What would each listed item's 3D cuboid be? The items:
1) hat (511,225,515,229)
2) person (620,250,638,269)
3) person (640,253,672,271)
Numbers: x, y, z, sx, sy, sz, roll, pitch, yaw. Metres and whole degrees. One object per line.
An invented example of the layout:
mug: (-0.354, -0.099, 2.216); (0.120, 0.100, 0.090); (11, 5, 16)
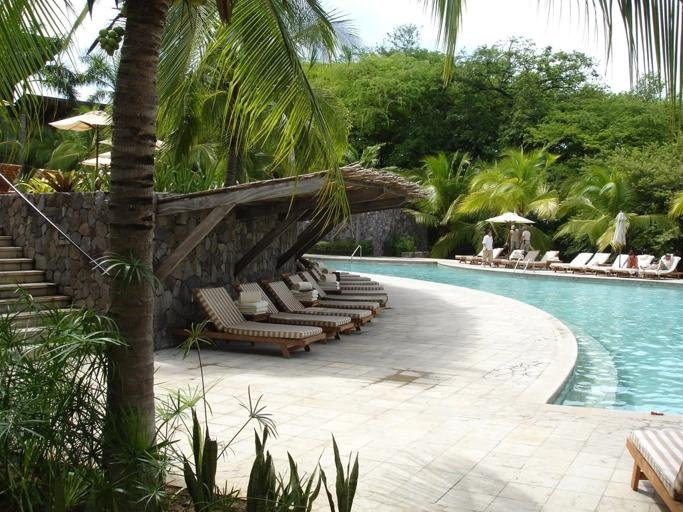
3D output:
hat: (9.225, -1.611, 27.523); (0.170, 0.234, 0.230); (-6, 40, 12)
person: (12.908, 0.135, 22.860); (0.641, 1.191, 0.451); (-10, -21, 39)
person: (13.380, 0.336, 21.262); (1.385, 0.825, 0.915); (3, -3, -41)
